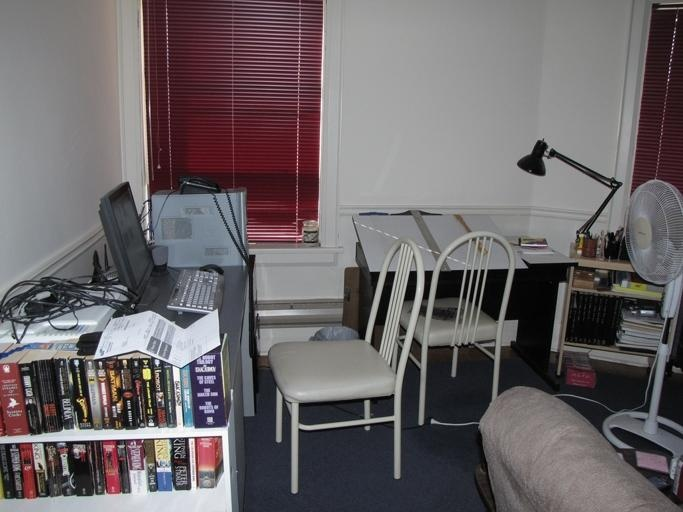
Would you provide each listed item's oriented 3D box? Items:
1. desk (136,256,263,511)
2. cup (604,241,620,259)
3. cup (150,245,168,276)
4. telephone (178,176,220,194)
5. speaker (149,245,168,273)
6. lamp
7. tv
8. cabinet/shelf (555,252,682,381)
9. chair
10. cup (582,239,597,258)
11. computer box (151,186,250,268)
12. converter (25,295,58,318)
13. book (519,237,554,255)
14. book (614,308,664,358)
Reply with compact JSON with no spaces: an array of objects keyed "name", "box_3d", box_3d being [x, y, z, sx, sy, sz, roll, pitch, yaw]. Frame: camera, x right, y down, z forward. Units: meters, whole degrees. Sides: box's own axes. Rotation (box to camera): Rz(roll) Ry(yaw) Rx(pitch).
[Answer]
[{"name":"desk","box_3d":[-0.545,0.478,1.992,0.332,0.599,0.926,3,23,-5]},{"name":"cup","box_3d":[1.686,-0.031,3.298,0.086,0.148,0.084,1,2,0]},{"name":"cup","box_3d":[-0.920,0.015,2.686,0.114,0.122,0.104,2,10,0]},{"name":"telephone","box_3d":[-0.768,-0.401,2.878,0.183,0.067,0.117,-1,10,-5]},{"name":"speaker","box_3d":[-0.920,0.016,2.689,0.108,0.118,0.098,-5,21,-27]},{"name":"lamp","box_3d":[1.480,-0.445,3.480,0.608,0.617,0.472,7,18,21]},{"name":"tv","box_3d":[-0.969,-0.061,2.377,0.080,0.400,0.523,-15,16,-4]},{"name":"cabinet/shelf","box_3d":[1.675,0.351,3.189,0.630,0.928,0.473,8,4,3]},{"name":"chair","box_3d":[-0.015,0.336,3.297,1.249,2.080,1.040,-1,10,-14]},{"name":"cup","box_3d":[1.570,-0.050,3.314,0.093,0.113,0.050,-3,17,-9]},{"name":"computer box","box_3d":[-0.762,-0.142,2.944,0.589,0.498,0.359,0,8,-5]},{"name":"converter","box_3d":[-1.092,0.191,1.917,0.095,0.036,0.071,-22,31,-5]},{"name":"book","box_3d":[1.273,-0.060,3.468,0.166,0.055,0.133,2,9,5]},{"name":"book","box_3d":[1.831,0.463,3.239,0.211,0.103,0.276,4,26,12]}]
